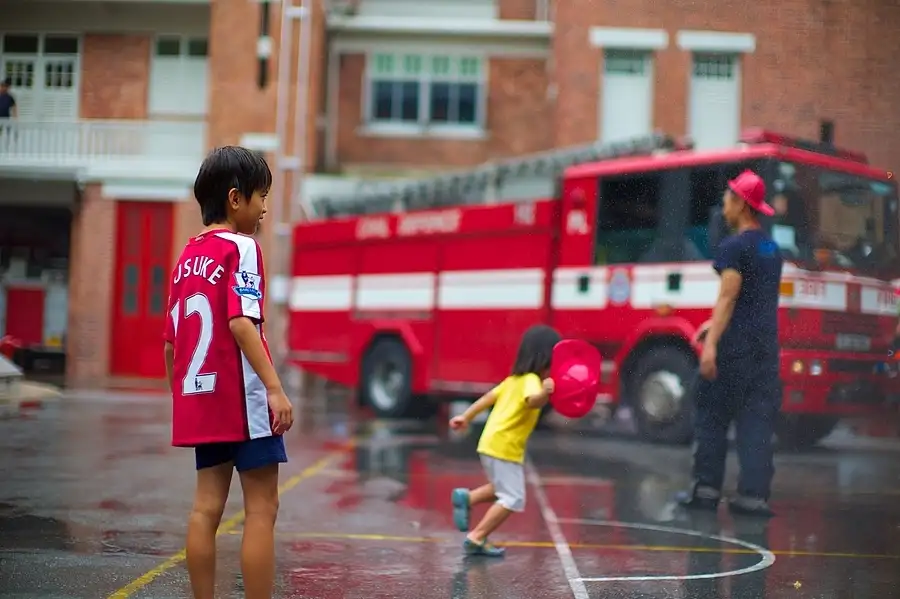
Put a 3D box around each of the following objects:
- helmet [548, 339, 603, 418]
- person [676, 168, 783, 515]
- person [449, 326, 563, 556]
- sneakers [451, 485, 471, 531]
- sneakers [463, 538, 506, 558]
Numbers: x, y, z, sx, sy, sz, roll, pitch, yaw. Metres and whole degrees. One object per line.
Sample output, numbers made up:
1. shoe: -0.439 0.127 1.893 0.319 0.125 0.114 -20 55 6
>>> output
1. helmet: 0.865 0.538 9.333 0.331 0.545 0.287 1 6 3
2. person: 2.053 0.496 9.831 0.636 2.029 0.340 2 6 14
3. person: 0.406 0.955 9.542 0.723 1.564 0.470 1 5 4
4. sneakers: 0.104 1.457 9.611 0.130 0.316 0.108 0 2 11
5. sneakers: 0.252 1.709 9.474 0.267 0.126 0.113 1 -1 5
